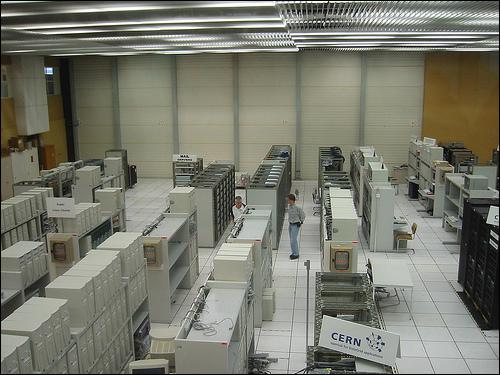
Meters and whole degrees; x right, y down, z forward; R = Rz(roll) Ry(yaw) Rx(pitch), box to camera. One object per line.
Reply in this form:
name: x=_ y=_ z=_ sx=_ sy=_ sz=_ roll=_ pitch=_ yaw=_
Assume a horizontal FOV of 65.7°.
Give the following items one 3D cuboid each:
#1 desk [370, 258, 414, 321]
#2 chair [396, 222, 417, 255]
desk: x=3.358 y=2.153 z=9.051 sx=0.992 sy=0.921 sz=1.855 roll=-1 pitch=20 yaw=5
chair: x=4.765 y=1.548 z=11.845 sx=0.560 sy=0.939 sz=0.564 roll=0 pitch=10 yaw=21
